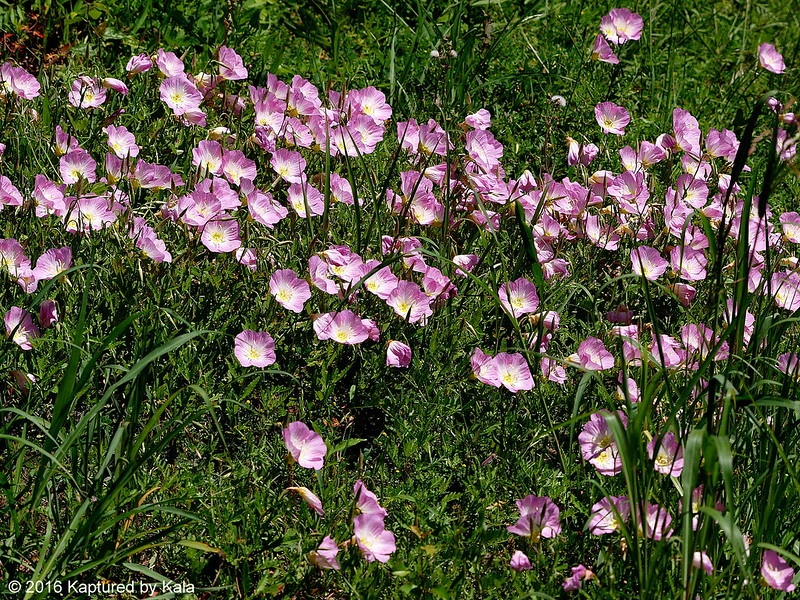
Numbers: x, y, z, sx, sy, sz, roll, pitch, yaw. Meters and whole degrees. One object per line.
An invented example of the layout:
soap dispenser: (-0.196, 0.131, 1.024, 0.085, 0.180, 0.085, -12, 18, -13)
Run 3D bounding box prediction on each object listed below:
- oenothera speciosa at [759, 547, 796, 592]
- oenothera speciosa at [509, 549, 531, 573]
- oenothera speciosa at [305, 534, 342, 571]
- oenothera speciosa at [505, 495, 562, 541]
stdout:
oenothera speciosa: (1.087, 0.782, 2.135, 0.114, 0.056, 0.105, 49, 52, 4)
oenothera speciosa: (0.356, 0.756, 2.186, 0.040, 0.068, 0.056, -30, 79, -42)
oenothera speciosa: (-0.211, 0.722, 2.126, 0.077, 0.050, 0.109, 17, 83, -37)
oenothera speciosa: (0.405, 0.659, 2.225, 0.111, 0.140, 0.118, -14, 94, -2)
